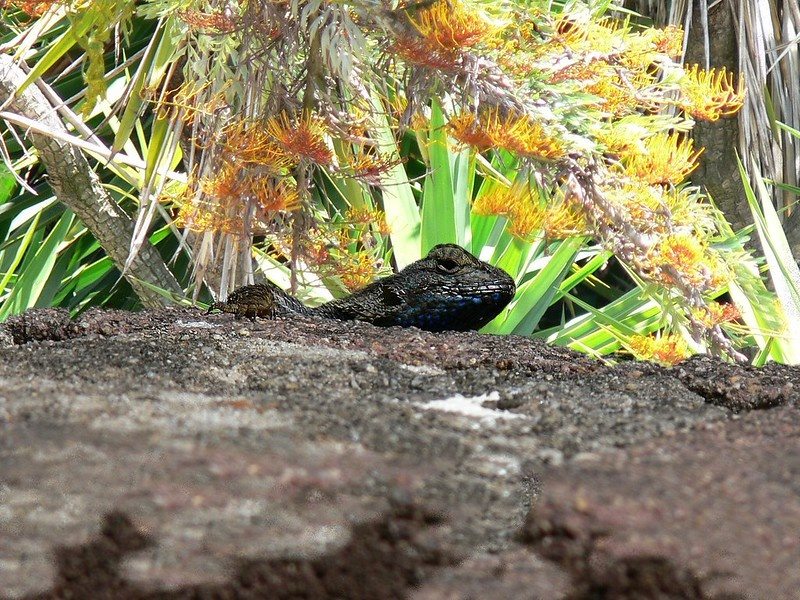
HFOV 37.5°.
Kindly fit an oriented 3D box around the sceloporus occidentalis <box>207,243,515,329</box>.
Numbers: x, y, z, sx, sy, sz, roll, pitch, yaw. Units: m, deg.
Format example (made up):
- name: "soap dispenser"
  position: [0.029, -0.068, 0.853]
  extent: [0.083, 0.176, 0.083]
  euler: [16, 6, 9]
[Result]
- name: "sceloporus occidentalis"
  position: [0.014, -0.029, 3.780]
  extent: [0.502, 0.463, 0.155]
  euler: [16, 87, 9]
